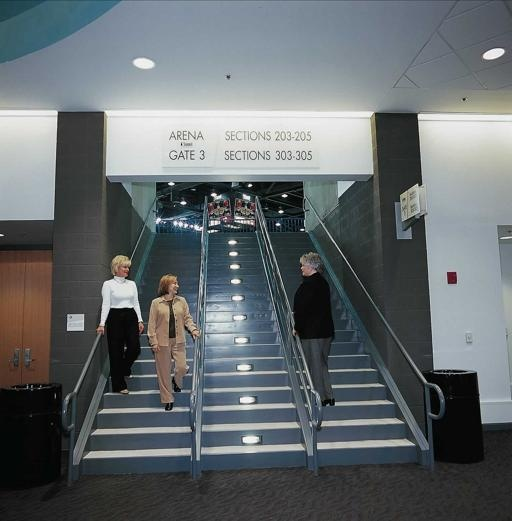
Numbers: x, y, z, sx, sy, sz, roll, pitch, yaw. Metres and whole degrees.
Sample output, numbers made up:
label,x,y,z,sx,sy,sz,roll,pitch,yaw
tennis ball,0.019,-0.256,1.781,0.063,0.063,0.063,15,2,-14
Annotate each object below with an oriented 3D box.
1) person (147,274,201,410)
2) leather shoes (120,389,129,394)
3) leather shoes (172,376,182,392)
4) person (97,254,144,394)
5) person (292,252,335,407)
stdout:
label,x,y,z,sx,sy,sz,roll,pitch,yaw
person,-1.058,0.966,5.088,0.457,1.589,0.333,2,-8,-15
leather shoes,-1.623,1.591,5.204,0.051,0.052,0.139,1,-12,-7
leather shoes,-0.973,1.523,5.186,0.054,0.182,0.170,-8,-1,-5
person,-1.697,0.785,5.340,0.524,1.704,0.328,2,-8,-17
person,0.703,0.825,5.173,0.505,1.852,0.310,0,-8,-4
